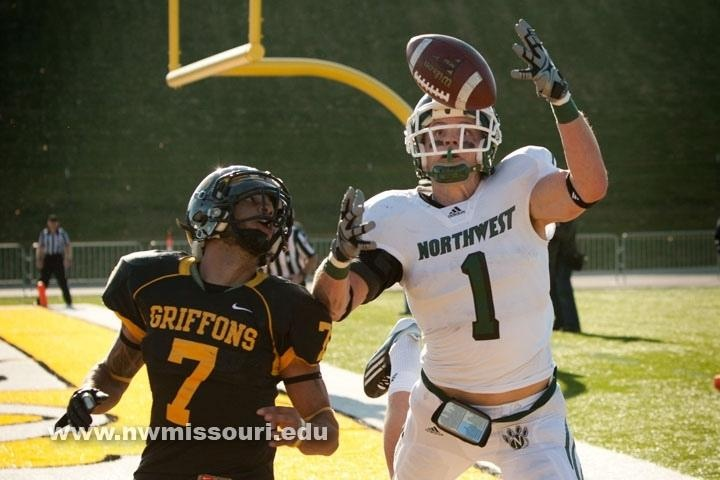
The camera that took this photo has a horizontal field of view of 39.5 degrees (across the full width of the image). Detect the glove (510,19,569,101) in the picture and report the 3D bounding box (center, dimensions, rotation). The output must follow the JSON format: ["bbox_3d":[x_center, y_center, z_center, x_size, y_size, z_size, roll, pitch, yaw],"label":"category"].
[{"bbox_3d":[1.438,-1.421,8.039,0.464,0.680,0.285,0,1,-1],"label":"glove"}]
